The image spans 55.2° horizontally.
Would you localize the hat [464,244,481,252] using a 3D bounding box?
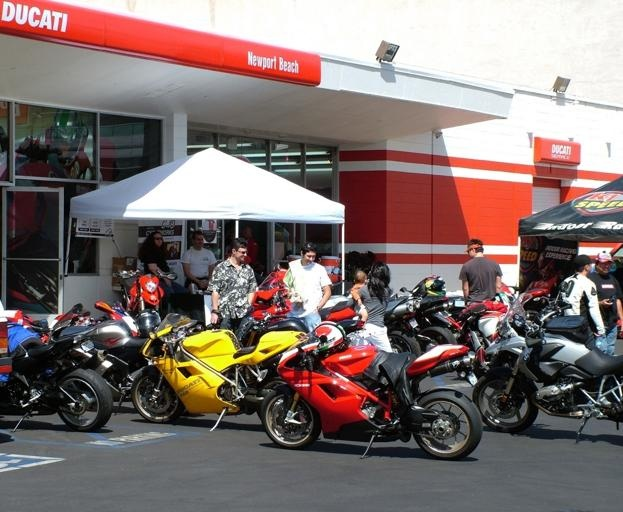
[{"bbox_3d":[2.947,-0.146,10.903,0.376,0.146,0.423,1,0,2],"label":"hat"}]
